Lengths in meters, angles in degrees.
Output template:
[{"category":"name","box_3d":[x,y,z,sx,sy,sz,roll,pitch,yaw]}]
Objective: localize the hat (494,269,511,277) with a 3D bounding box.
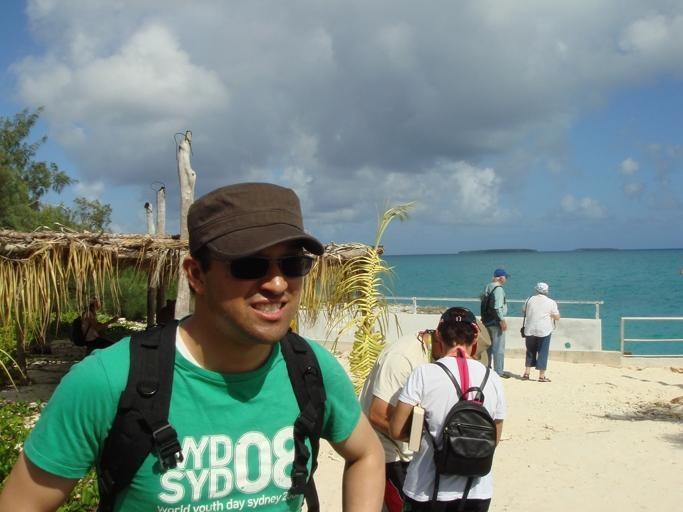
[{"category":"hat","box_3d":[3.108,0.353,10.678,0.284,0.178,0.205,-6,18,-16]}]

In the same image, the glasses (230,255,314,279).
[{"category":"glasses","box_3d":[-0.256,0.040,2.151,0.349,0.096,0.067,-1,3,-32]}]

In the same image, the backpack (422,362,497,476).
[{"category":"backpack","box_3d":[0.746,1.145,3.723,0.509,0.805,0.482,3,-12,-7]}]

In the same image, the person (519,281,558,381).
[{"category":"person","box_3d":[3.980,1.485,11.071,0.652,1.988,1.440,2,3,22]}]

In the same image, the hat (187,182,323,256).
[{"category":"hat","box_3d":[-0.330,-0.061,2.155,0.457,0.256,0.363,-4,-2,33]}]
